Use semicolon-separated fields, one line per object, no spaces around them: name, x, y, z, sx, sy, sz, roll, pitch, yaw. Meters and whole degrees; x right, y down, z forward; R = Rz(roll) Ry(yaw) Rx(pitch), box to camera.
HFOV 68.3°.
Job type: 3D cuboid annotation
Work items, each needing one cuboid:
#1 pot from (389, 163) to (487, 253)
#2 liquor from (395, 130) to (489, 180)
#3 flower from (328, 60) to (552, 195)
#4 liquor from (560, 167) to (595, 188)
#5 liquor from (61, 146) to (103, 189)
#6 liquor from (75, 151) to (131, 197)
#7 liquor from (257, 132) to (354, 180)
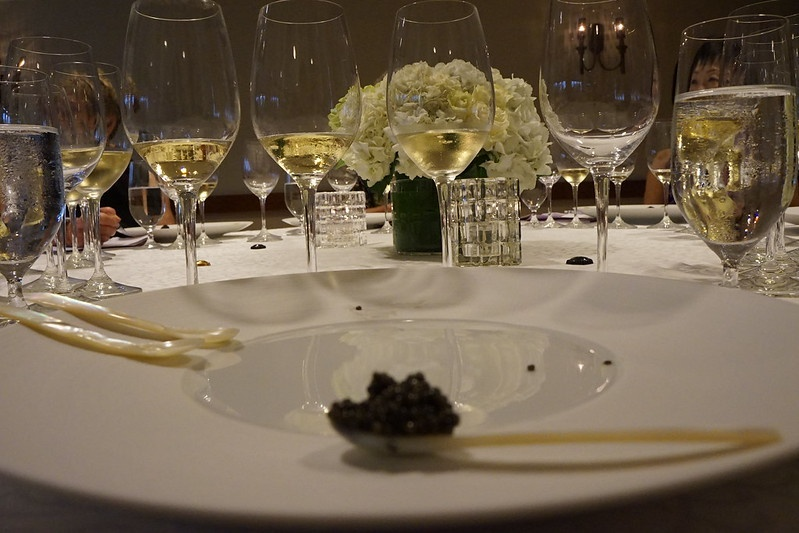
pot;0.064;-0.098;1.094;0.146;0.166;0.171;0;-3;-3
liquor;0.055;-0.156;0.800;0.110;0.051;0.113;6;10;-8
flower;0.092;-0.227;1.076;0.272;0.166;0.269;-6;11;-24
liquor;0.664;-0.343;2.237;0.093;0.075;0.093;-1;-2;-4
liquor;-0.459;-0.146;0.878;0.071;0.081;0.073;-7;13;-28
liquor;-0.538;-0.177;1.096;0.093;0.106;0.093;-8;15;-38
liquor;-0.129;-0.150;0.826;0.130;0.072;0.074;-3;9;-5
